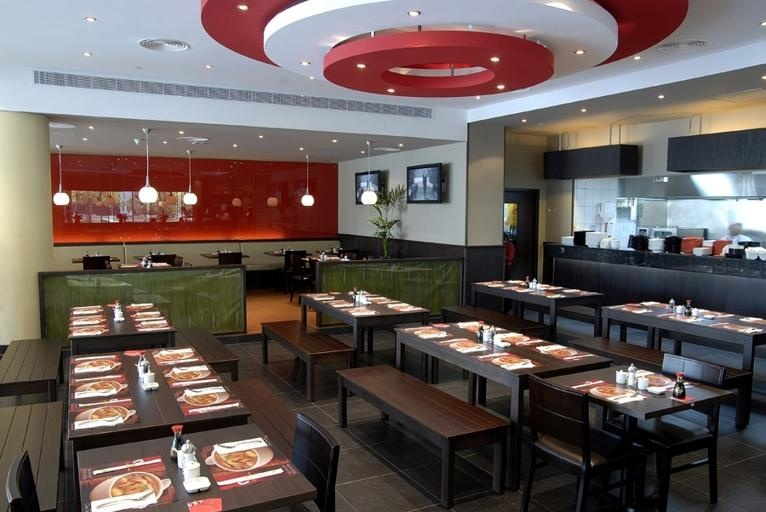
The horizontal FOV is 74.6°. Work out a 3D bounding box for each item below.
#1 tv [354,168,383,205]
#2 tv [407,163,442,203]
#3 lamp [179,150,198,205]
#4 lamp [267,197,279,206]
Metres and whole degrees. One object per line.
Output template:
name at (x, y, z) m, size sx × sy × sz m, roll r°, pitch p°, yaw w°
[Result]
tv at (-0.311, -1.677, 12.134) m, size 0.135 × 0.845 × 1.217 m, roll -2°, pitch 3°, yaw -21°
tv at (0.917, -1.542, 10.740) m, size 0.276 × 0.840 × 1.108 m, roll -6°, pitch 12°, yaw -27°
lamp at (-4.609, -1.797, 11.965) m, size 0.361 × 1.307 × 1.349 m, roll -4°, pitch 12°, yaw -21°
lamp at (-2.899, -1.413, 13.237) m, size 0.235 × 0.187 × 0.234 m, roll -1°, pitch -10°, yaw 35°
